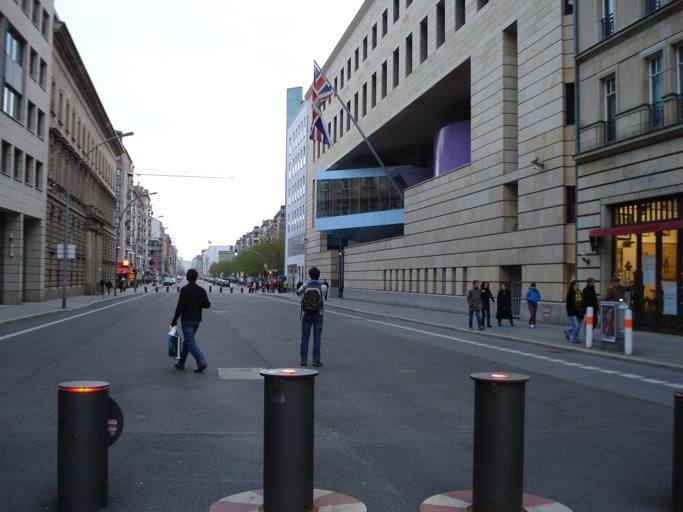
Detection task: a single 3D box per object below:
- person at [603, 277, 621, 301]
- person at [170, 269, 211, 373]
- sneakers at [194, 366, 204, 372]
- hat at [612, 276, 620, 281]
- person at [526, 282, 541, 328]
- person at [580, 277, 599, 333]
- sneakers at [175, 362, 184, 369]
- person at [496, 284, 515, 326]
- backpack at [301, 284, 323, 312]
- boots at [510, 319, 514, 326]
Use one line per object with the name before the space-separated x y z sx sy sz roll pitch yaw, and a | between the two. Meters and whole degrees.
person | 8.832 1.056 23.076 0.452 1.094 0.704 -1 9 10
person | -3.272 1.367 15.174 0.773 2.208 0.968 0 -2 -13
sneakers | -3.018 2.397 14.889 0.223 0.119 0.330 0 -3 -12
hat | 8.230 0.693 21.249 0.199 0.077 0.225 -1 -2 -5
person | 7.521 1.893 27.932 0.523 1.720 2.448 -1 -3 15
person | 7.454 1.430 21.288 0.450 1.529 2.854 -1 -3 19
sneakers | -3.540 2.377 15.222 0.077 0.180 0.231 3 5 -36
person | 6.404 1.941 27.860 0.665 1.647 1.290 -1 -2 13
backpack | -0.676 0.981 15.529 0.522 0.869 0.457 1 -8 -5
boots | 6.602 2.594 27.499 0.125 0.281 0.629 -1 -3 13
